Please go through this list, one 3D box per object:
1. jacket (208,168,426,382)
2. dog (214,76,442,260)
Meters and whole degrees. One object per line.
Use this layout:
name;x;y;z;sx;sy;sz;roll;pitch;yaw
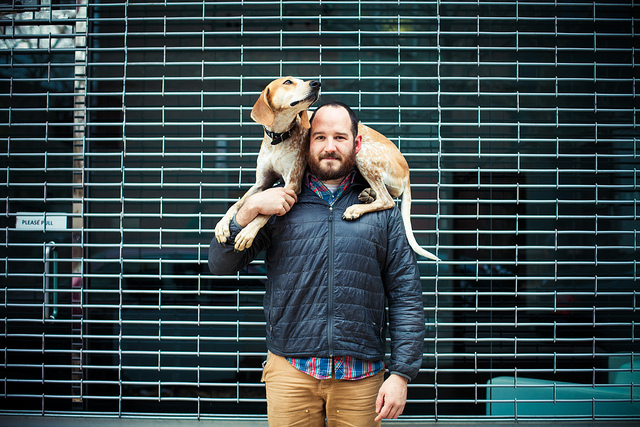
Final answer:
jacket;0.156;0.497;10.488;1.796;1.524;0.948;4;6;-4
dog;0.172;-0.375;10.322;1.953;1.188;1.046;4;-4;-26
